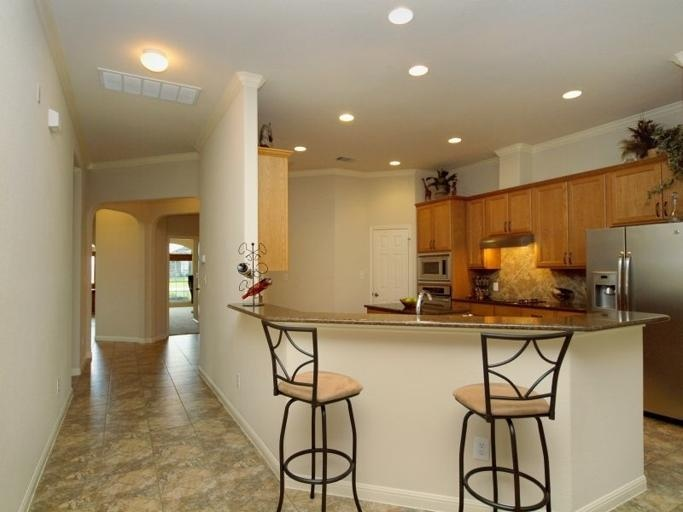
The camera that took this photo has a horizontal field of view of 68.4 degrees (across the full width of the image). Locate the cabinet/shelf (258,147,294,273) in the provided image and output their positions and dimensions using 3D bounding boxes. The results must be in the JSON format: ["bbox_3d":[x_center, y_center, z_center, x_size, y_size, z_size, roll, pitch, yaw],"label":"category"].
[{"bbox_3d":[-0.664,-0.464,4.938,0.313,1.188,0.235,-2,6,-11],"label":"cabinet/shelf"}]

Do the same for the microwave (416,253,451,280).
[{"bbox_3d":[1.354,0.175,7.430,0.323,0.422,0.602,2,-5,-24],"label":"microwave"}]

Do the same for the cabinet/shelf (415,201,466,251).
[{"bbox_3d":[1.481,-0.436,7.382,0.309,0.754,0.730,2,-4,-26],"label":"cabinet/shelf"}]

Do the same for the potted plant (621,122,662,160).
[{"bbox_3d":[3.264,-1.243,5.500,0.408,0.450,0.402,5,4,19],"label":"potted plant"}]

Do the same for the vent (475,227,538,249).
[{"bbox_3d":[2.201,-0.221,6.713,0.236,0.254,0.823,-3,5,-25],"label":"vent"}]

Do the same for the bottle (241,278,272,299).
[{"bbox_3d":[-0.784,0.295,4.583,0.231,0.204,0.428,-2,5,-13],"label":"bottle"}]

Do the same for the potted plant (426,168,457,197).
[{"bbox_3d":[1.520,-1.096,7.777,0.477,0.490,0.470,-2,3,-30],"label":"potted plant"}]

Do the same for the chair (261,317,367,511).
[{"bbox_3d":[-0.209,1.143,3.635,0.727,1.411,0.641,0,6,8],"label":"chair"}]
